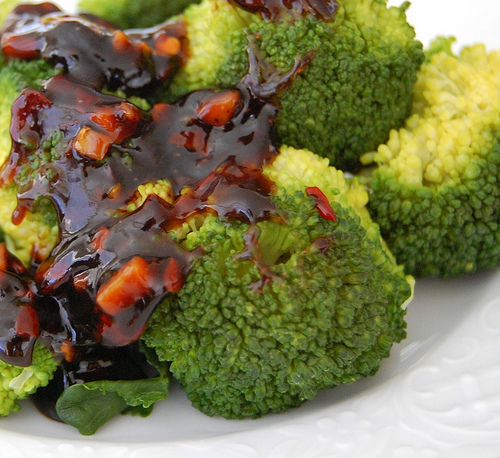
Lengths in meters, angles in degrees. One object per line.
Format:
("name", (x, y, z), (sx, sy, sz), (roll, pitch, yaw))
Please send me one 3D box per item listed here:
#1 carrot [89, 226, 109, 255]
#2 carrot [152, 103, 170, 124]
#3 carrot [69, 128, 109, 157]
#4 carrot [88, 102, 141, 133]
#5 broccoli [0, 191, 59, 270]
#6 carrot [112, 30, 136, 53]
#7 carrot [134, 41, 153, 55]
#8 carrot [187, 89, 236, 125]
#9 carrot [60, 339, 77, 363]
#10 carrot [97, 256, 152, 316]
("carrot", (-0.240, 0.019, 0.915), (0.028, 0.013, 0.043), (17, 82, 41))
("carrot", (-0.162, -0.213, 1.046), (0.031, 0.019, 0.044), (-9, 40, 8))
("carrot", (-0.268, -0.146, 0.967), (0.044, 0.041, 0.037), (7, 48, 25))
("carrot", (-0.233, -0.192, 0.989), (0.085, 0.028, 0.044), (8, 17, 2))
("broccoli", (-0.394, -0.003, 1.076), (0.111, 0.149, 0.061), (2, 22, 8))
("carrot", (-0.246, -0.357, 1.105), (0.030, 0.045, 0.035), (-34, 16, 25))
("carrot", (-0.210, -0.361, 1.138), (0.030, 0.011, 0.026), (14, 33, -21))
("carrot", (-0.079, -0.218, 1.033), (0.093, 0.054, 0.026), (-27, -7, 35))
("carrot", (-0.311, 0.210, 0.983), (0.033, 0.040, 0.013), (-10, 38, -12))
("carrot", (-0.188, 0.094, 0.923), (0.098, 0.062, 0.033), (-42, 12, 6))
